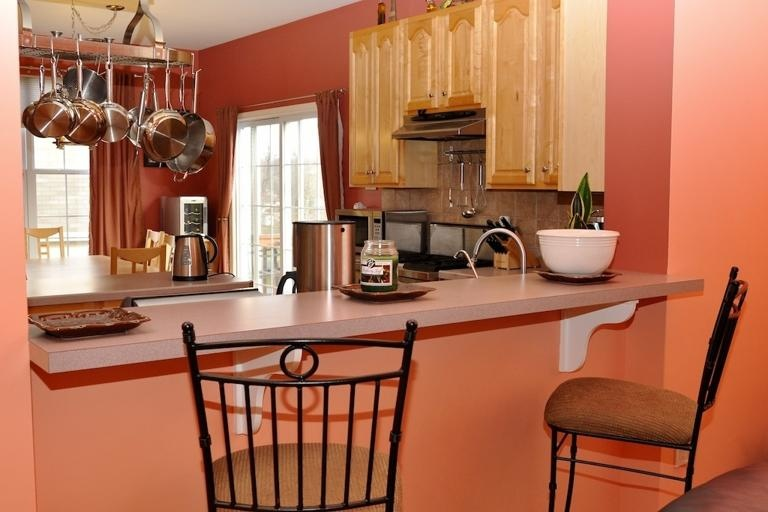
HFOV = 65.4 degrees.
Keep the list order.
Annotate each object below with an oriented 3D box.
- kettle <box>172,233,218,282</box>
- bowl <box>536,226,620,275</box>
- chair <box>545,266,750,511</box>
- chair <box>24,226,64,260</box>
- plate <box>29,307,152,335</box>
[{"bbox_3d":[-1.200,0.004,3.965,0.395,0.374,0.284,2,4,-14],"label":"kettle"},{"bbox_3d":[0.764,-0.025,2.439,0.229,0.108,0.229,0,0,0],"label":"bowl"},{"bbox_3d":[0.960,0.594,2.223,0.679,1.089,0.468,0,8,16],"label":"chair"},{"bbox_3d":[-3.594,-0.135,6.375,0.373,0.377,1.502,-7,8,-28],"label":"chair"},{"bbox_3d":[-0.864,0.193,1.772,0.197,0.031,0.140,-2,7,-29],"label":"plate"}]
